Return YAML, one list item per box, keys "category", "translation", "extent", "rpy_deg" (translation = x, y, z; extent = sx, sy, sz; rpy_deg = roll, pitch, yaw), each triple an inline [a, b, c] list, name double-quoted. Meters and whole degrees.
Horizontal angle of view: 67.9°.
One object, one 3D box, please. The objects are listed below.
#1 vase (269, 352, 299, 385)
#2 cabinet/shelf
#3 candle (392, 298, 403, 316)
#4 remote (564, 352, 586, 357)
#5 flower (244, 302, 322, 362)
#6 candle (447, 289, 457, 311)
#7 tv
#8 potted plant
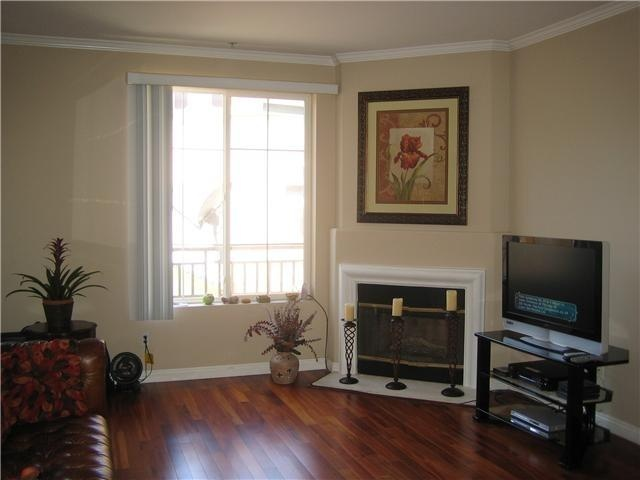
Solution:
- category: "vase"
  translation: [-0.330, 1.225, 4.504]
  extent: [0.275, 0.292, 0.289]
  rpy_deg: [1, -3, -3]
- category: "cabinet/shelf"
  translation: [1.733, 0.879, 3.576]
  extent: [0.666, 0.731, 1.035]
  rpy_deg: [-1, 3, -23]
- category: "candle"
  translation: [0.730, 0.620, 4.452]
  extent: [0.097, 0.172, 0.223]
  rpy_deg: [1, 7, 9]
- category: "remote"
  translation: [1.744, 0.786, 3.253]
  extent: [0.078, 0.020, 0.057]
  rpy_deg: [2, -1, -24]
- category: "flower"
  translation: [-0.345, 0.961, 4.697]
  extent: [0.794, 0.629, 0.470]
  rpy_deg: [-1, 7, -9]
- category: "candle"
  translation: [1.216, 0.552, 4.364]
  extent: [0.106, 0.206, 0.249]
  rpy_deg: [2, 7, 15]
- category: "tv"
  translation: [1.749, 0.409, 3.495]
  extent: [0.095, 0.819, 0.883]
  rpy_deg: [-4, 5, -24]
- category: "potted plant"
  translation: [-2.312, 0.351, 4.188]
  extent: [0.731, 0.691, 0.768]
  rpy_deg: [0, -5, -5]
